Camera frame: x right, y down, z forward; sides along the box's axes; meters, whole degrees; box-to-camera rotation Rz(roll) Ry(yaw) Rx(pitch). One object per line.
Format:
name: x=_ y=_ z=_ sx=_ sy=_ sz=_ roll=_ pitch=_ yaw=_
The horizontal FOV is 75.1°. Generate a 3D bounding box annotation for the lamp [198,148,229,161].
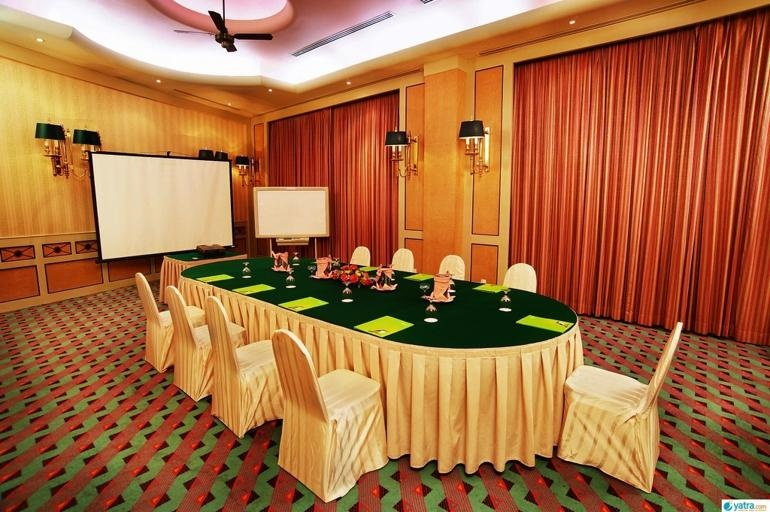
lamp: x=-3.491 y=-2.036 z=10.055 sx=0.564 sy=0.252 sz=0.863 roll=-5 pitch=10 yaw=-19

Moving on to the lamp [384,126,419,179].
lamp: x=0.211 y=-1.678 z=8.299 sx=0.561 sy=0.740 sz=0.466 roll=-3 pitch=7 yaw=-22

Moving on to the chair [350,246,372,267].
chair: x=-0.360 y=-0.002 z=7.446 sx=0.278 sy=0.412 sz=0.307 roll=2 pitch=8 yaw=20

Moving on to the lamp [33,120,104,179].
lamp: x=-5.248 y=-1.735 z=8.265 sx=0.906 sy=0.879 sz=0.383 roll=-10 pitch=13 yaw=-41

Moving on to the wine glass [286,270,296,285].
wine glass: x=-1.206 y=0.279 z=6.278 sx=0.160 sy=0.171 sz=0.169 roll=-1 pitch=1 yaw=-3

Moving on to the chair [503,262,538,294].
chair: x=1.669 y=0.254 z=6.162 sx=0.336 sy=0.467 sz=0.404 roll=1 pitch=9 yaw=26

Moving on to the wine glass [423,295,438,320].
wine glass: x=0.477 y=0.557 z=5.299 sx=0.191 sy=0.237 sz=0.153 roll=4 pitch=13 yaw=35

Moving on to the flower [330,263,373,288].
flower: x=-0.464 y=0.249 z=6.060 sx=0.325 sy=0.160 sz=0.375 roll=-6 pitch=11 yaw=-35

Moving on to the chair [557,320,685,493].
chair: x=2.312 y=1.339 z=4.989 sx=1.141 sy=1.425 sz=1.110 roll=-13 pitch=19 yaw=-34

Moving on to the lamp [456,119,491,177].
lamp: x=1.349 y=-1.622 z=7.554 sx=0.431 sy=0.786 sz=0.779 roll=1 pitch=10 yaw=12

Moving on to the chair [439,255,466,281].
chair: x=0.866 y=0.132 z=6.626 sx=0.337 sy=0.481 sz=0.353 roll=2 pitch=5 yaw=26

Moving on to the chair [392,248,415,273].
chair: x=0.275 y=0.062 z=7.205 sx=0.325 sy=0.441 sz=0.328 roll=2 pitch=7 yaw=22

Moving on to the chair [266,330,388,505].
chair: x=-0.528 y=1.386 z=4.917 sx=1.000 sy=1.469 sz=1.009 roll=-9 pitch=15 yaw=-36

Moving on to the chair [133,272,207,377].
chair: x=-2.606 y=0.736 z=6.203 sx=0.737 sy=1.145 sz=0.757 roll=7 pitch=18 yaw=34
